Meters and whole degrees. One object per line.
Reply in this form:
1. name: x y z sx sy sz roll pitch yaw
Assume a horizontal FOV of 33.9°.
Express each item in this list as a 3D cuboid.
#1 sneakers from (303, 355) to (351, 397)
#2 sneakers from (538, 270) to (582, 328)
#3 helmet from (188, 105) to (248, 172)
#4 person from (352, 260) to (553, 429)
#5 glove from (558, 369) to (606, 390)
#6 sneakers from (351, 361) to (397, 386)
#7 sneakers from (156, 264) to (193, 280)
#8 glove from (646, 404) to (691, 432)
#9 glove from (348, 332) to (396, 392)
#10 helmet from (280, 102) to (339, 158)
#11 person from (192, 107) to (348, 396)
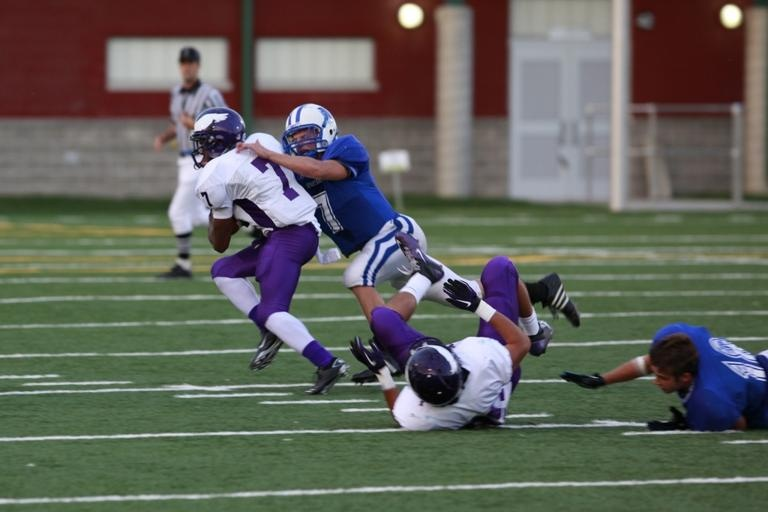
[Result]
1. sneakers: -0.440 0.890 9.619 0.322 0.278 0.292 0 14 1
2. sneakers: 1.391 0.372 10.011 0.264 0.557 0.196 -16 37 21
3. helmet: -1.234 -0.874 9.787 0.508 0.440 0.404 -6 -13 21
4. person: 0.472 0.689 9.292 1.202 0.781 1.574 -20 22 10
5. glove: 1.424 0.879 9.094 0.337 0.129 0.123 -2 39 6
6. sneakers: -0.133 0.872 9.268 0.468 0.192 0.150 0 -22 3
7. sneakers: -2.264 0.179 13.642 0.429 0.162 0.137 3 4 -6
8. glove: 1.994 1.139 8.856 0.356 0.172 0.122 -11 12 11
9. glove: -0.078 0.732 8.914 0.197 0.159 0.500 -44 5 12
10. helmet: -0.579 -1.004 9.794 0.379 0.376 0.496 4 14 41
11. person: -0.902 -0.053 9.652 1.252 2.083 0.674 3 15 12
